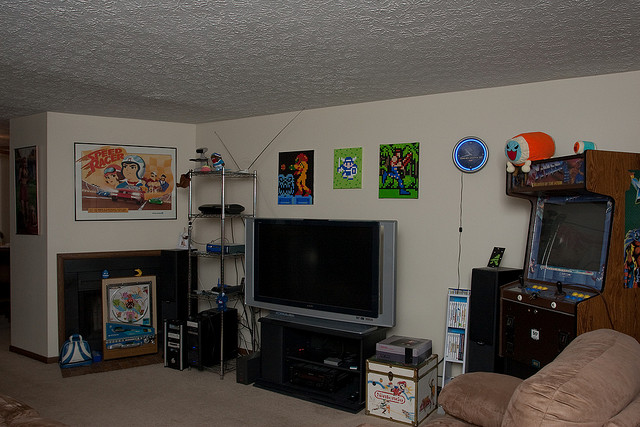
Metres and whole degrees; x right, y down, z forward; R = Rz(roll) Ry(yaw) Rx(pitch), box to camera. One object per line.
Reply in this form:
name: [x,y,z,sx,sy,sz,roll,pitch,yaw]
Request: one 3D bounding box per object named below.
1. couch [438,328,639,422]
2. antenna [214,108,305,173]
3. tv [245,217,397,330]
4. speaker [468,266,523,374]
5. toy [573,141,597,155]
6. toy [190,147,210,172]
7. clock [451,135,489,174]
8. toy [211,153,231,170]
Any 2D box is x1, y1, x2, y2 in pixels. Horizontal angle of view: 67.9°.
couch: [1.225,0.925,2.633,0.873,0.492,0.848,-1,-3,25]
antenna: [-0.686,-0.892,5.721,1.362,0.711,0.418,1,2,23]
tv: [0.067,0.609,4.859,1.342,0.707,0.092,2,0,29]
speaker: [1.526,0.944,4.188,0.375,0.904,0.331,3,10,13]
toy: [2.120,-0.524,3.780,0.196,0.121,0.105,0,-10,-37]
toy: [-1.460,-0.671,5.803,0.179,0.279,0.666,-2,9,-14]
clock: [1.467,-0.576,4.566,0.405,0.395,0.043,-4,-4,31]
toy: [-1.202,-0.614,5.565,0.130,0.179,0.315,-2,9,-15]
